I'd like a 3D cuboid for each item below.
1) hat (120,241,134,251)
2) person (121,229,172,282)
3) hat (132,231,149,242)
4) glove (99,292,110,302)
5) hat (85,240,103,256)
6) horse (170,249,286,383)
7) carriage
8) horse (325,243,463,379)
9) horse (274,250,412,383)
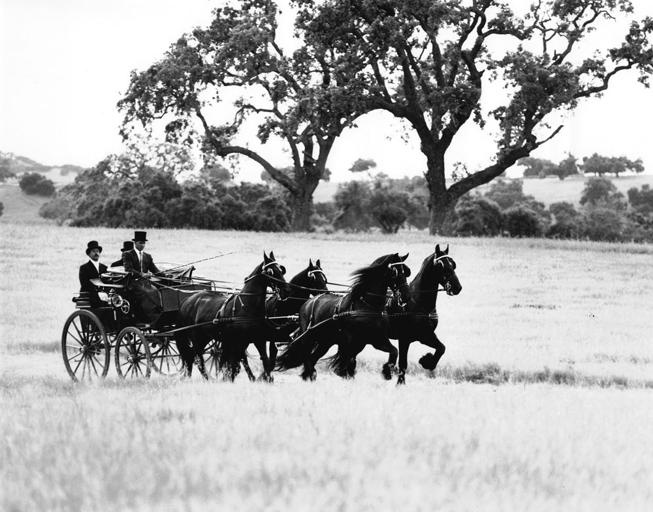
[{"bbox_3d":[-4.333,-0.236,32.921,0.224,0.138,0.223,-3,6,-33],"label":"hat"},{"bbox_3d":[-3.997,-0.002,32.869,0.886,1.097,0.862,1,-4,27],"label":"person"},{"bbox_3d":[-4.082,-0.432,32.767,0.340,0.221,0.345,-2,2,21],"label":"hat"},{"bbox_3d":[-5.049,0.923,34.289,0.357,0.123,0.340,15,-2,6],"label":"glove"},{"bbox_3d":[-5.263,-0.176,34.100,0.443,0.221,0.550,1,-12,-9],"label":"hat"},{"bbox_3d":[-2.112,1.465,32.626,1.159,2.749,3.810,0,-4,-43],"label":"horse"},{"bbox_3d":[-3.071,1.417,32.726,4.818,2.366,2.949,-4,-5,24],"label":"carriage"},{"bbox_3d":[1.545,1.548,32.881,1.002,3.078,4.080,5,-8,-33],"label":"horse"},{"bbox_3d":[0.176,1.501,32.535,1.002,2.579,4.262,1,-6,-45],"label":"horse"}]
